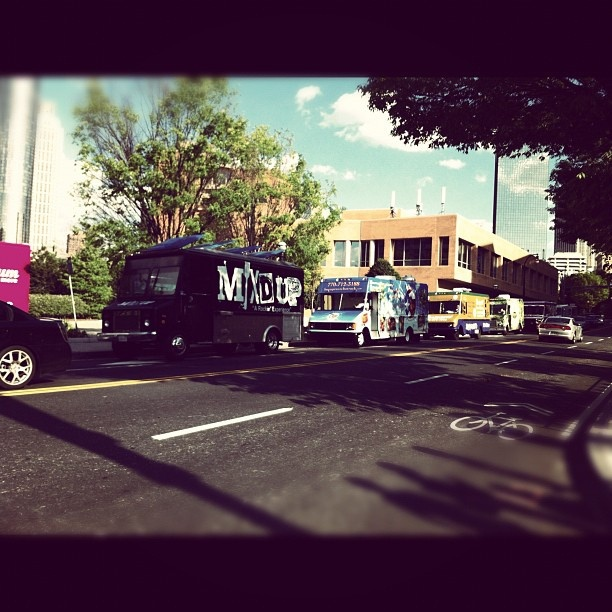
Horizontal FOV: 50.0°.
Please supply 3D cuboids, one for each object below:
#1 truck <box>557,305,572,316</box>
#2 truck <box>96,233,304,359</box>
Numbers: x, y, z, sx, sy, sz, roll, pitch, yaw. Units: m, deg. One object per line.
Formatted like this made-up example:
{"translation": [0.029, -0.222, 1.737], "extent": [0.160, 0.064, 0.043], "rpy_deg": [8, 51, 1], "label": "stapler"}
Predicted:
{"translation": [23.976, 0.449, 61.406], "extent": [0.998, 1.351, 1.925], "rpy_deg": [5, 8, 34], "label": "truck"}
{"translation": [-2.649, -0.081, 18.508], "extent": [2.558, 2.883, 7.068], "rpy_deg": [3, 2, 28], "label": "truck"}
